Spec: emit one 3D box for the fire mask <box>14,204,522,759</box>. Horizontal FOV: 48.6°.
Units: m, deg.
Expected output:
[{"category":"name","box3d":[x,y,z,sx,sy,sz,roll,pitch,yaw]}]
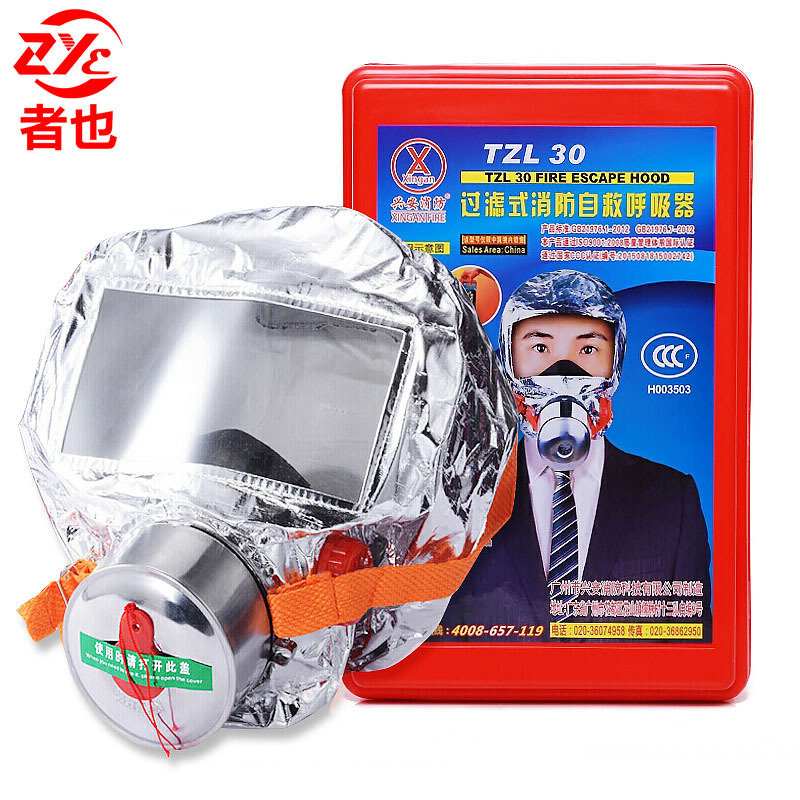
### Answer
[{"category":"fire mask","box3d":[-0.233,0.061,1.276,0.620,0.755,0.273,7,-42,6]}]
